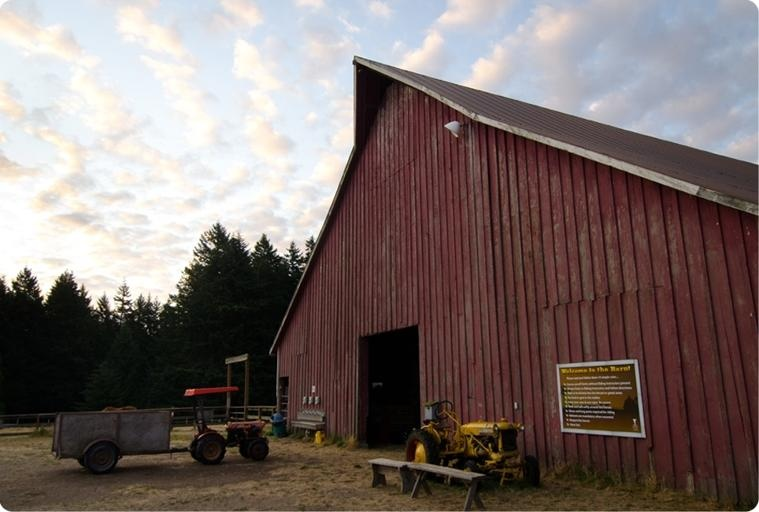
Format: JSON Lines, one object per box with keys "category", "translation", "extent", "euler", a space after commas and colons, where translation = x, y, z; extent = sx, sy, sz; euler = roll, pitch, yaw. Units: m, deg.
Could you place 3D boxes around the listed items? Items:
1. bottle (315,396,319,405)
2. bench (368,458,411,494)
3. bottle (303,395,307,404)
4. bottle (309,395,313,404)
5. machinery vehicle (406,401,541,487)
{"category": "bottle", "translation": [-2.351, 5.397, 20.603], "extent": [0.048, 0.305, 0.508], "euler": [12, -24, -29]}
{"category": "bench", "translation": [0.276, 4.602, 11.455], "extent": [0.536, 0.564, 1.110], "euler": [11, -17, -40]}
{"category": "bottle", "translation": [-2.948, 5.647, 21.643], "extent": [0.044, 0.318, 0.403], "euler": [9, -22, -23]}
{"category": "bottle", "translation": [-2.662, 5.528, 21.134], "extent": [0.040, 0.288, 0.491], "euler": [10, -23, -25]}
{"category": "machinery vehicle", "translation": [1.883, 4.030, 11.773], "extent": [1.507, 1.479, 2.639], "euler": [11, -22, -38]}
